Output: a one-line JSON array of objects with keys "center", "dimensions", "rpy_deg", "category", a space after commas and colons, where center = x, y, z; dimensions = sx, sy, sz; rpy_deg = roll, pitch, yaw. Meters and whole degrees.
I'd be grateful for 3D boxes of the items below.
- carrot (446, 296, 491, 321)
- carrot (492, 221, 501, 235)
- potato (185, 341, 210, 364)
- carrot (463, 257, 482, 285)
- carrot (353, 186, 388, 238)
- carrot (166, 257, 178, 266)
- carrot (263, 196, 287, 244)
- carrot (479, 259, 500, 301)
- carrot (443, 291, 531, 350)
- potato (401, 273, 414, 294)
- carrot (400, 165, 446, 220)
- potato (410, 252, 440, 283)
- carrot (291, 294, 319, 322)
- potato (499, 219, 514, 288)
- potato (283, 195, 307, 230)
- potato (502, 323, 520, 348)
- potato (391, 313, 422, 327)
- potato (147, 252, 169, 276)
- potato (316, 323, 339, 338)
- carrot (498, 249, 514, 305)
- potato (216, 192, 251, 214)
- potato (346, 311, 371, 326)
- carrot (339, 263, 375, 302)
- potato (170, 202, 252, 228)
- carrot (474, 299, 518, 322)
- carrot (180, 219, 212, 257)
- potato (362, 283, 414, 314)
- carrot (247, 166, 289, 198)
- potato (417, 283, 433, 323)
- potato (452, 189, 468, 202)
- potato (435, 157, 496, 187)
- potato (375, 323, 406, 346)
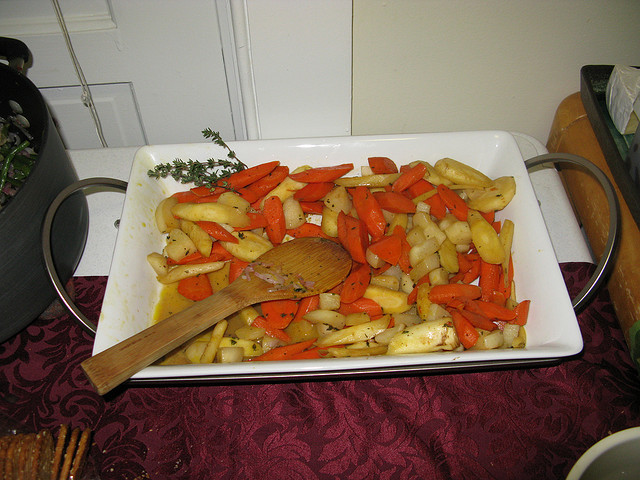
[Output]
[{"center": [0.269, 0.119, 0.849], "dimensions": [0.058, 0.040, 0.015], "rpy_deg": [12, 49, 3], "category": "carrot"}, {"center": [0.346, -0.023, 0.915], "dimensions": [0.019, 0.005, 0.021], "rpy_deg": [-21, 63, 27], "category": "carrot"}, {"center": [-0.214, 0.196, 0.824], "dimensions": [0.028, 0.010, 0.040], "rpy_deg": [28, 59, 23], "category": "potato"}, {"center": [0.302, 0.064, 0.935], "dimensions": [0.031, 0.013, 0.055], "rpy_deg": [36, 88, 29], "category": "carrot"}, {"center": [0.097, -0.056, 0.915], "dimensions": [0.050, 0.038, 0.106], "rpy_deg": [-26, 74, 20], "category": "carrot"}, {"center": [-0.289, 0.042, 0.918], "dimensions": [0.016, 0.012, 0.005], "rpy_deg": [32, 11, -1], "category": "carrot"}, {"center": [-0.085, -0.039, 0.929], "dimensions": [0.043, 0.029, 0.090], "rpy_deg": [-8, 94, 7], "category": "carrot"}, {"center": [0.316, 0.075, 0.882], "dimensions": [0.028, 0.027, 0.094], "rpy_deg": [10, 71, 1], "category": "carrot"}, {"center": [0.290, 0.144, 0.846], "dimensions": [0.114, 0.033, 0.086], "rpy_deg": [-16, 58, -12], "category": "carrot"}, {"center": [0.161, 0.079, 0.853], "dimensions": [0.017, 0.010, 0.033], "rpy_deg": [-7, 66, 8], "category": "potato"}, {"center": [0.201, -0.087, 0.967], "dimensions": [0.060, 0.035, 0.122], "rpy_deg": [-38, 85, -4], "category": "carrot"}, {"center": [0.193, 0.053, 0.893], "dimensions": [0.016, 0.052, 0.048], "rpy_deg": [40, 34, 19], "category": "potato"}, {"center": [-0.027, 0.123, 0.860], "dimensions": [0.034, 0.012, 0.059], "rpy_deg": [38, 87, -16], "category": "carrot"}, {"center": [0.351, 0.025, 0.890], "dimensions": [0.026, 0.017, 0.131], "rpy_deg": [6, 76, -11], "category": "potato"}, {"center": [-0.053, -0.051, 0.935], "dimensions": [0.038, 0.015, 0.060], "rpy_deg": [-5, 93, -11], "category": "potato"}, {"center": [0.337, 0.167, 0.820], "dimensions": [0.022, 0.011, 0.042], "rpy_deg": [4, 74, 18], "category": "potato"}, {"center": [0.158, 0.145, 0.842], "dimensions": [0.037, 0.009, 0.024], "rpy_deg": [-2, 47, -13], "category": "potato"}, {"center": [-0.307, 0.046, 0.897], "dimensions": [0.035, 0.041, 0.013], "rpy_deg": [-40, 20, -30], "category": "potato"}, {"center": [0.006, 0.163, 0.852], "dimensions": [0.022, 0.018, 0.027], "rpy_deg": [-3, 96, 1], "category": "potato"}, {"center": [0.347, 0.071, 0.864], "dimensions": [0.021, 0.012, 0.083], "rpy_deg": [5, 77, 1], "category": "carrot"}, {"center": [-0.164, -0.072, 0.915], "dimensions": [0.055, 0.017, 0.036], "rpy_deg": [25, 58, -10], "category": "potato"}, {"center": [0.070, 0.144, 0.842], "dimensions": [0.035, 0.012, 0.024], "rpy_deg": [-20, 53, 7], "category": "potato"}, {"center": [0.077, 0.074, 0.878], "dimensions": [0.064, 0.027, 0.123], "rpy_deg": [0, 30, 19], "category": "carrot"}, {"center": [-0.204, -0.056, 0.895], "dimensions": [0.151, 0.045, 0.027], "rpy_deg": [8, 13, 2], "category": "potato"}, {"center": [0.314, 0.125, 0.854], "dimensions": [0.079, 0.025, 0.026], "rpy_deg": [29, 95, 8], "category": "carrot"}, {"center": [-0.231, 0.008, 0.901], "dimensions": [0.025, 0.127, 0.048], "rpy_deg": [29, 89, 11], "category": "carrot"}, {"center": [0.125, 0.109, 0.857], "dimensions": [0.079, 0.026, 0.044], "rpy_deg": [12, 77, 0], "category": "potato"}, {"center": [-0.102, -0.115, 0.944], "dimensions": [0.087, 0.030, 0.043], "rpy_deg": [-31, 87, -5], "category": "carrot"}, {"center": [0.189, 0.110, 0.843], "dimensions": [0.028, 0.019, 0.059], "rpy_deg": [8, 72, -1], "category": "potato"}, {"center": [0.290, -0.087, 0.950], "dimensions": [0.021, 0.010, 0.025], "rpy_deg": [-4, 80, 5], "category": "potato"}, {"center": [0.288, -0.130, 0.928], "dimensions": [0.098, 0.023, 0.055], "rpy_deg": [24, 46, -2], "category": "potato"}, {"center": [0.125, 0.165, 0.828], "dimensions": [0.045, 0.012, 0.034], "rpy_deg": [-35, 22, -9], "category": "potato"}]
